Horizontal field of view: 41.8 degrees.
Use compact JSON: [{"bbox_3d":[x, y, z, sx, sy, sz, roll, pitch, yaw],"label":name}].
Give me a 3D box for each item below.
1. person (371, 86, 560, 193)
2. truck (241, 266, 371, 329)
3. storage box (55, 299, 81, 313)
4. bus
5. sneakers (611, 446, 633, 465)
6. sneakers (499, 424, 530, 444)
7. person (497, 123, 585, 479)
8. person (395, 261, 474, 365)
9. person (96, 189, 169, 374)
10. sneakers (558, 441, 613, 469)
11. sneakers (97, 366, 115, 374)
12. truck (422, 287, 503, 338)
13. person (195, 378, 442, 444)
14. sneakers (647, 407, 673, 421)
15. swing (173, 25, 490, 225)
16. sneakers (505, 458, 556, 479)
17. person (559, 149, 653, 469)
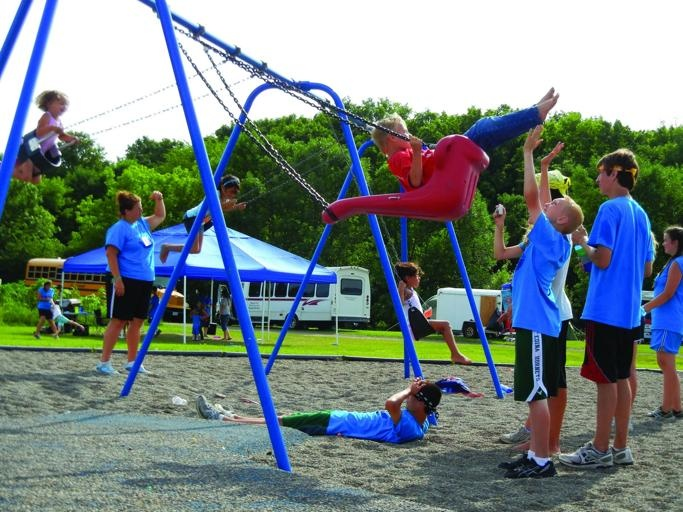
[{"bbox_3d":[1.041,-1.109,7.395,1.480,0.737,0.639,-31,4,15],"label":"person"},{"bbox_3d":[-0.979,1.318,30.844,2.725,2.236,3.787,-2,-9,27],"label":"truck"},{"bbox_3d":[-5.695,1.012,18.633,0.308,0.211,0.441,-2,-1,8],"label":"storage box"},{"bbox_3d":[-8.643,0.725,31.858,4.710,1.416,1.245,6,21,-6],"label":"bus"},{"bbox_3d":[2.360,1.669,7.494,0.092,0.104,0.219,-4,3,-43],"label":"sneakers"},{"bbox_3d":[1.572,1.604,8.046,0.305,0.140,0.115,-8,-14,32],"label":"sneakers"},{"bbox_3d":[1.608,0.365,7.315,0.678,2.813,0.953,1,-8,6],"label":"person"},{"bbox_3d":[1.079,0.682,11.373,0.814,1.261,1.066,1,-8,3],"label":"person"},{"bbox_3d":[-2.441,0.283,10.353,0.669,2.150,0.911,4,-8,-14],"label":"person"},{"bbox_3d":[2.024,1.646,7.457,0.473,0.221,0.179,3,-14,0],"label":"sneakers"},{"bbox_3d":[-2.695,1.281,10.207,0.217,0.107,0.143,2,-8,-4],"label":"sneakers"},{"bbox_3d":[3.954,1.739,28.907,2.890,1.694,1.801,3,-2,2],"label":"truck"},{"bbox_3d":[-0.171,1.407,8.227,1.950,0.562,0.817,2,-12,9],"label":"person"},{"bbox_3d":[3.301,1.629,9.230,0.279,0.120,0.097,2,-11,5],"label":"sneakers"},{"bbox_3d":[-0.270,-1.754,7.955,2.335,0.766,2.234,31,0,-38],"label":"swing"},{"bbox_3d":[1.509,1.695,7.158,0.433,0.170,0.147,1,-14,-4],"label":"sneakers"},{"bbox_3d":[2.230,0.447,7.849,0.917,2.700,0.790,8,-6,-41],"label":"person"}]
